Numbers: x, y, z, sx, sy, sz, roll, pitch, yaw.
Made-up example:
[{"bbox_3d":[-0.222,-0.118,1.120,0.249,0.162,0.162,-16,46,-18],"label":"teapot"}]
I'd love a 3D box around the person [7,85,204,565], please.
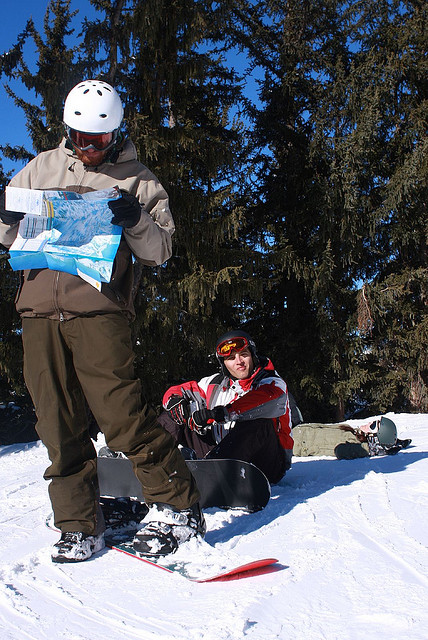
[{"bbox_3d":[-0.393,-0.031,2.113,0.687,1.766,0.417,2,-6,-18],"label":"person"}]

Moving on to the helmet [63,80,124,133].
[{"bbox_3d":[-0.449,-0.807,2.210,0.206,0.215,0.267,6,44,1],"label":"helmet"}]

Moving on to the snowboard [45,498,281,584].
[{"bbox_3d":[-0.174,0.816,2.181,0.868,0.125,0.354,-6,-8,44],"label":"snowboard"}]

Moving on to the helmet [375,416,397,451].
[{"bbox_3d":[1.335,0.898,4.489,0.171,0.261,0.181,-1,-6,8],"label":"helmet"}]
